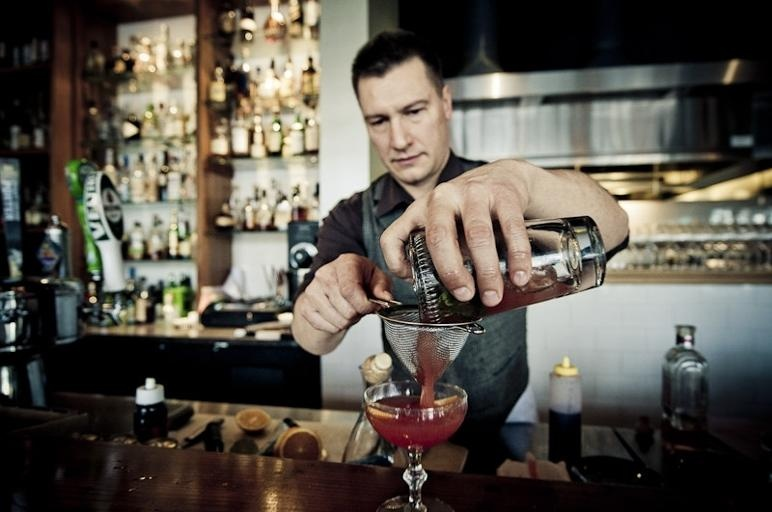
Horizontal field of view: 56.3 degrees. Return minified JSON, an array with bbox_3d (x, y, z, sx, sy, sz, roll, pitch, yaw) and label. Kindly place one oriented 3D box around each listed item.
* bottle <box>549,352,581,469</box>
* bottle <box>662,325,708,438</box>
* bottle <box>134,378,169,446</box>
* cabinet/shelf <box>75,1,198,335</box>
[{"bbox_3d":[0.721,0.633,2.937,0.136,0.417,0.150,-1,2,13],"label":"bottle"},{"bbox_3d":[1.210,0.499,2.941,0.181,0.418,0.093,-1,2,21],"label":"bottle"},{"bbox_3d":[-0.994,0.648,3.034,0.140,0.261,0.125,-2,2,-19],"label":"bottle"},{"bbox_3d":[-1.554,-0.648,4.692,0.782,2.229,1.852,-2,2,-22],"label":"cabinet/shelf"}]
